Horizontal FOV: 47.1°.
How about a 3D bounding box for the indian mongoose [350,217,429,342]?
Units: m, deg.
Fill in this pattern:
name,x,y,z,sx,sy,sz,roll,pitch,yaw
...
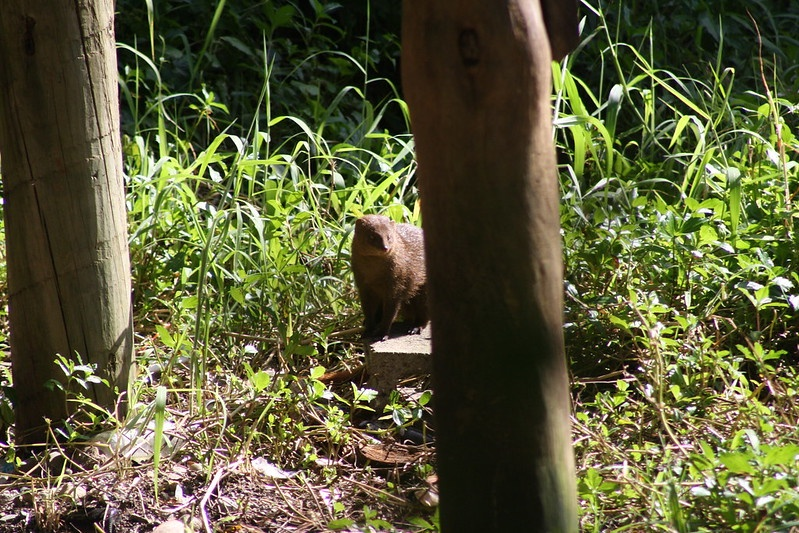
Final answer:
name,x,y,z,sx,sy,sz,roll,pitch,yaw
indian mongoose,-0.052,0.033,5.009,0.343,0.703,0.716,5,7,25
